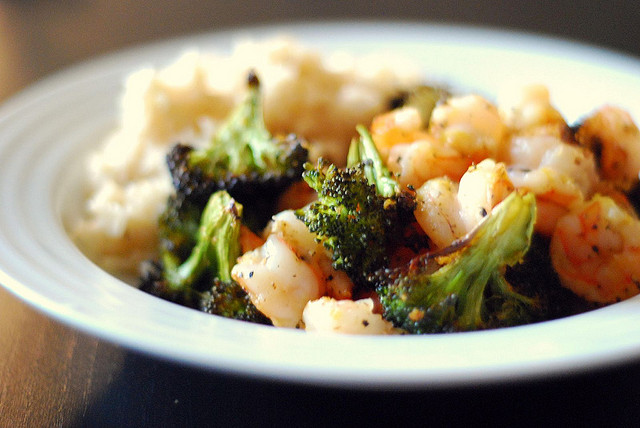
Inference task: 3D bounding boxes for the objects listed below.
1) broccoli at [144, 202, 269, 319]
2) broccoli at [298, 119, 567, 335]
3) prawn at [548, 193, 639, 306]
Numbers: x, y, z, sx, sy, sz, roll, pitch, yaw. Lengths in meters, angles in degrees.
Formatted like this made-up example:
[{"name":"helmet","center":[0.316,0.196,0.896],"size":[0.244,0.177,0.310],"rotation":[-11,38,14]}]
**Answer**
[{"name":"broccoli","center":[-0.234,0.114,1.420],"size":[0.200,0.239,0.270],"rotation":[17,18,-22]},{"name":"broccoli","center":[0.188,0.071,1.278],"size":[0.298,0.113,0.410],"rotation":[-35,70,-4]},{"name":"prawn","center":[0.516,0.073,1.273],"size":[0.172,0.058,0.170],"rotation":[-2,83,-6]}]
